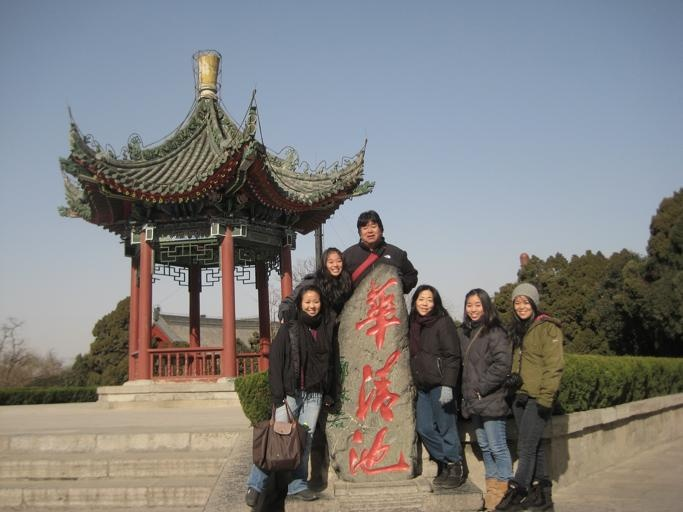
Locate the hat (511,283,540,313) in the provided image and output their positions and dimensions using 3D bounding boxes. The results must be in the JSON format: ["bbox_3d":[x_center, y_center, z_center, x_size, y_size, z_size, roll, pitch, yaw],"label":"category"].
[{"bbox_3d":[2.364,0.496,9.102,0.327,0.377,0.366,21,-31,-36],"label":"hat"}]

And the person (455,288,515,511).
[{"bbox_3d":[1.783,1.758,8.760,0.689,2.634,0.490,0,2,33],"label":"person"}]

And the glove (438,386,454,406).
[{"bbox_3d":[1.272,1.714,8.601,0.155,0.232,0.085,-3,-18,29],"label":"glove"}]

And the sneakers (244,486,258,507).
[{"bbox_3d":[-1.027,2.788,8.097,0.154,0.198,0.171,-1,1,-8],"label":"sneakers"}]

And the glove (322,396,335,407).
[{"bbox_3d":[-0.159,1.819,8.757,0.107,0.145,0.140,2,-15,-9],"label":"glove"}]

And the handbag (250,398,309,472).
[{"bbox_3d":[-0.715,2.153,8.234,0.632,0.832,0.394,-1,1,-6],"label":"handbag"}]

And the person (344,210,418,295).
[{"bbox_3d":[0.403,0.098,8.786,0.831,0.918,0.509,-3,-6,-4],"label":"person"}]

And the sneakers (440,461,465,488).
[{"bbox_3d":[1.342,2.691,8.612,0.261,0.273,0.171,-1,1,0],"label":"sneakers"}]

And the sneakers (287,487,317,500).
[{"bbox_3d":[-0.435,2.820,8.325,0.269,0.128,0.138,-5,-9,16],"label":"sneakers"}]

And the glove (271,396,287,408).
[{"bbox_3d":[-0.737,1.755,8.368,0.119,0.100,0.128,-3,1,9],"label":"glove"}]
